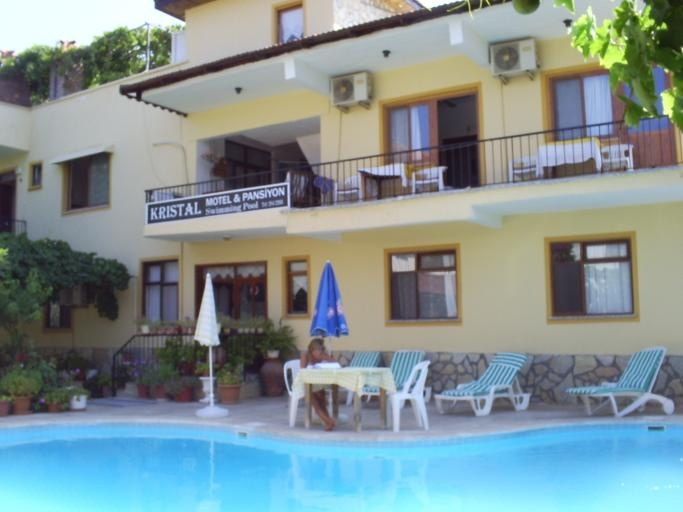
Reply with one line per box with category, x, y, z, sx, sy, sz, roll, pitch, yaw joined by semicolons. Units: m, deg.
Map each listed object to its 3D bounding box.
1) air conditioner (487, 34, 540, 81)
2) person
air conditioner;3.796;-4.031;15.777;1.189;1.047;0.696;-3;-7;24
person;-0.420;2.391;13.488;0.725;1.624;1.706;-1;-5;-3
